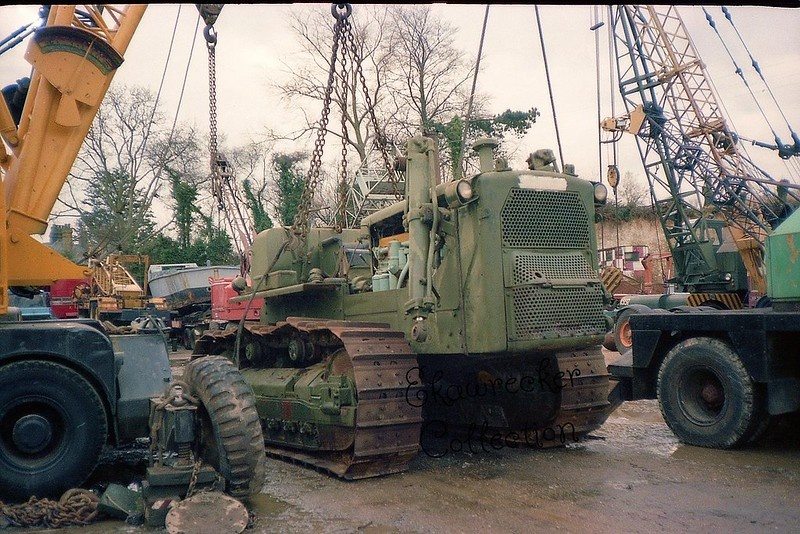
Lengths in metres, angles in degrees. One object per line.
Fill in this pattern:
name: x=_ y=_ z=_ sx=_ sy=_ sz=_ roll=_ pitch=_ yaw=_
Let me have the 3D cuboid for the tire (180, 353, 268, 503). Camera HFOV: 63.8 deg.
tire: x=-2.009 y=1.699 z=7.111 sx=0.425 sy=1.535 sz=1.375 roll=-16 pitch=18 yaw=-36

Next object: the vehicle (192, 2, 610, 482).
vehicle: x=0.943 y=0.350 z=11.252 sx=4.300 sy=7.481 sz=6.649 roll=2 pitch=-5 yaw=-37

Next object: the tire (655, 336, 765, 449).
tire: x=4.139 y=1.662 z=8.466 sx=0.473 sy=1.477 sz=1.225 roll=-4 pitch=-7 yaw=-30

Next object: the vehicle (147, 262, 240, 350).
vehicle: x=-9.244 y=1.465 z=28.252 sx=2.571 sy=3.738 sz=8.920 roll=0 pitch=-4 yaw=-20

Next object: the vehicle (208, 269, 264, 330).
vehicle: x=-3.528 y=0.731 z=13.767 sx=1.104 sy=1.866 sz=1.926 roll=-2 pitch=2 yaw=-23
